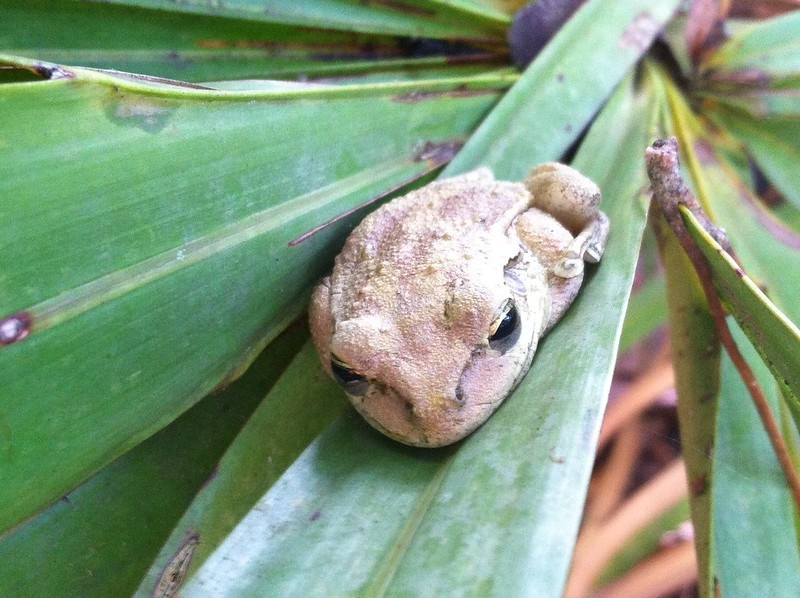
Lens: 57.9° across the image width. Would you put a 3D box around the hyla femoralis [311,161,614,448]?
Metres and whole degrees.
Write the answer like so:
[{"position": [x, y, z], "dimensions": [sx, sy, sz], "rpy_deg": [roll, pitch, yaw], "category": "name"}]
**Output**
[{"position": [0.073, -0.016, 0.921], "dimensions": [0.261, 0.285, 0.366], "rpy_deg": [27, 35, 32], "category": "hyla femoralis"}]
